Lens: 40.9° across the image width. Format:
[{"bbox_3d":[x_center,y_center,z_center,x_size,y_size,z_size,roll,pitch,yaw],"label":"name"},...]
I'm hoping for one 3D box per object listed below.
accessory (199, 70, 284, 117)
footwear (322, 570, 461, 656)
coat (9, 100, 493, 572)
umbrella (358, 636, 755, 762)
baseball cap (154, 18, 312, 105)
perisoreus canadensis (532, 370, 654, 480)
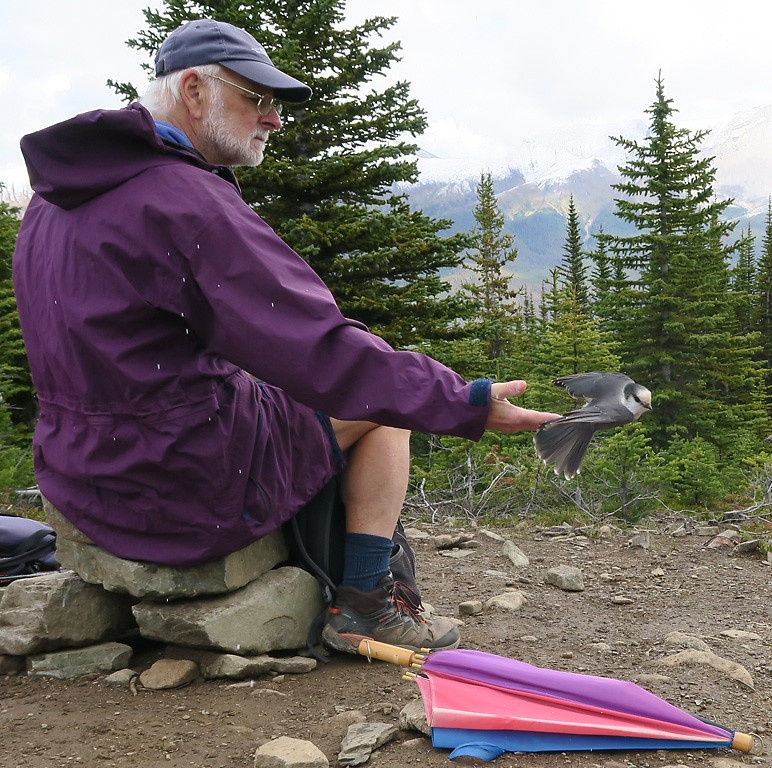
[{"bbox_3d":[-0.570,-1.169,4.153,0.249,0.046,0.148,17,-3,-15],"label":"accessory"},{"bbox_3d":[0.025,1.017,4.598,0.762,0.294,0.242,13,-12,-31],"label":"footwear"},{"bbox_3d":[-0.659,-0.157,3.956,1.708,1.769,0.635,-1,2,2],"label":"coat"},{"bbox_3d":[0.604,1.148,3.794,1.000,0.167,0.414,3,17,10],"label":"umbrella"},{"bbox_3d":[-0.577,-1.335,4.191,0.692,0.206,0.364,10,17,16],"label":"baseball cap"},{"bbox_3d":[0.761,0.145,3.784,0.379,0.374,0.329,0,1,20],"label":"perisoreus canadensis"}]
